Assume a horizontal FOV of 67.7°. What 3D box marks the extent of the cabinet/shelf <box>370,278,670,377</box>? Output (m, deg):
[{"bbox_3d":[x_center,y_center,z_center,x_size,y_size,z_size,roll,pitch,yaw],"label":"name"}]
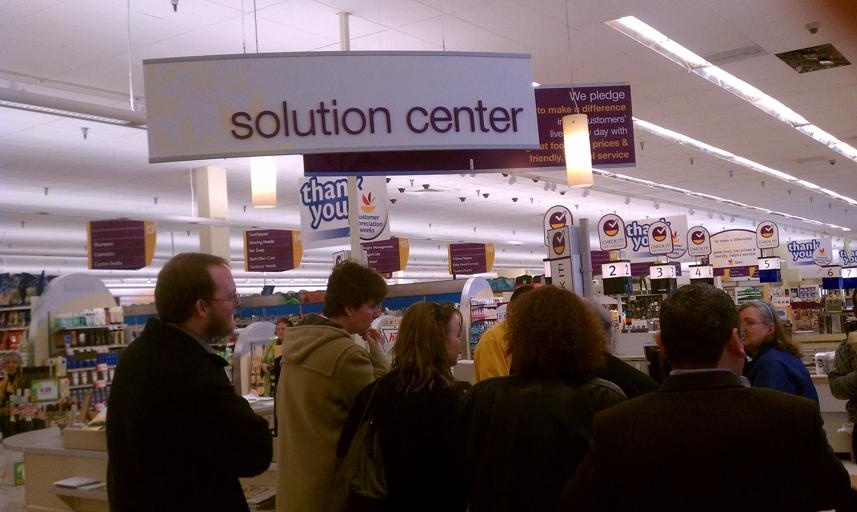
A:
[{"bbox_3d":[1.787,1.230,13.926,3.314,1.305,3.321,-3,-4,33],"label":"cabinet/shelf"}]
